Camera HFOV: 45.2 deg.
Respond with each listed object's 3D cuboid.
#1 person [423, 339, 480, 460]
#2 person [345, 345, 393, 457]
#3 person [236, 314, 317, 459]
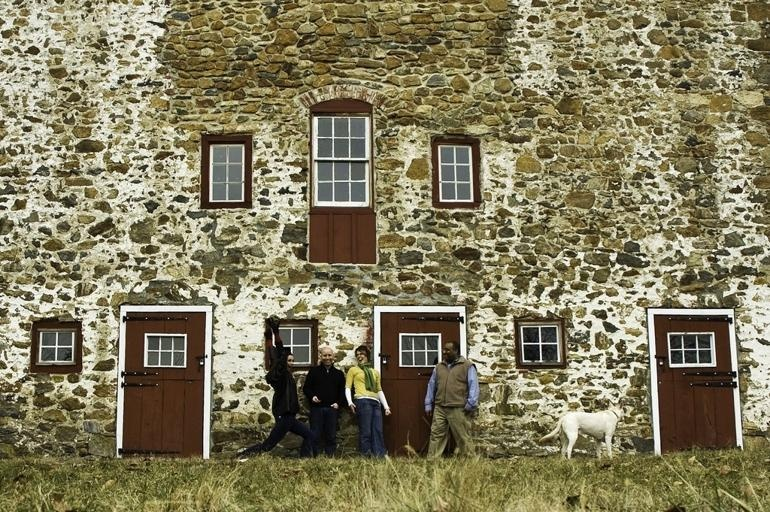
[{"bbox_3d":[1.230,2.670,17.316,0.974,2.090,0.492,-1,-6,3],"label":"person"},{"bbox_3d":[-0.344,2.734,17.545,0.843,2.060,0.606,0,-6,-3],"label":"person"},{"bbox_3d":[-1.964,2.443,17.120,1.164,2.547,1.396,3,-7,-32],"label":"person"}]
